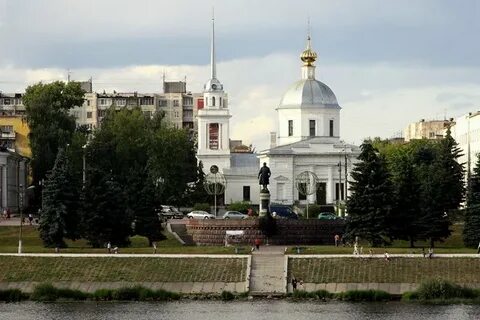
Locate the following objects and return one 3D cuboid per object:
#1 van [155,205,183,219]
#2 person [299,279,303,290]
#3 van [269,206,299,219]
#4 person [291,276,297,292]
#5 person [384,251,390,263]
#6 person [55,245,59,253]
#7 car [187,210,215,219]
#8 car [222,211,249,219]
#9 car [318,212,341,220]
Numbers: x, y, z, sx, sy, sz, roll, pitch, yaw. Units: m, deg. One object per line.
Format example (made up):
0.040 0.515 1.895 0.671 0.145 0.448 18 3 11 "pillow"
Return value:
-8.584 6.417 150.143 2.657 1.240 1.636 -1 1 4 "van"
6.304 12.706 124.816 0.474 1.060 0.771 -1 -3 1 "person"
5.081 6.298 146.517 2.879 1.367 1.515 -2 0 5 "van"
5.516 12.635 124.849 0.541 1.374 1.097 -1 -3 2 "person"
15.306 10.051 126.970 0.576 0.992 1.158 -1 -3 6 "person"
-19.933 9.621 131.239 0.534 0.695 0.523 -2 -1 22 "person"
-4.729 6.584 146.718 2.747 0.870 1.214 -1 -1 10 "car"
-0.564 6.527 144.998 2.397 0.740 1.100 -2 2 -2 "car"
10.402 6.673 143.913 2.049 0.816 0.960 -3 3 -1 "car"
